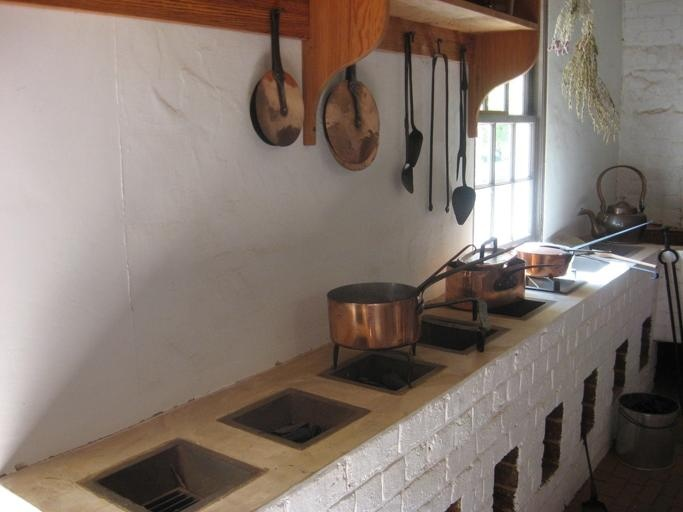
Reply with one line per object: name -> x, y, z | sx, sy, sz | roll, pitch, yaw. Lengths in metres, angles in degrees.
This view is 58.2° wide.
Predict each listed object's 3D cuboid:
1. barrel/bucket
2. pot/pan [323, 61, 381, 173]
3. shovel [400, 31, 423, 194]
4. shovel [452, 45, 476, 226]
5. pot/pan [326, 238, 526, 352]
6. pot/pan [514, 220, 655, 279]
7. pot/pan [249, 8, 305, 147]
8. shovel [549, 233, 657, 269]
barrel/bucket -> 1.704, 0.916, 3.451 | 0.361, 0.386, 0.363 | -2, 8, 0
pot/pan -> 0.040, -0.512, 2.261 | 0.050, 0.373, 0.280 | 10, 18, 36
shovel -> 0.295, -0.587, 2.536 | 0.080, 0.656, 0.142 | 1, 14, 7
shovel -> 0.587, -0.552, 2.863 | 0.089, 0.832, 0.196 | 8, 16, 30
pot/pan -> 0.337, 0.087, 2.277 | 0.302, 0.367, 0.863 | 7, 7, 41
pot/pan -> 1.361, -0.038, 3.438 | 0.570, 0.241, 0.240 | -9, 13, -18
pot/pan -> -0.209, -0.574, 1.958 | 0.055, 0.426, 0.193 | 11, 18, 39
shovel -> 1.502, -0.031, 3.521 | 0.125, 0.087, 0.584 | -1, 8, -5
